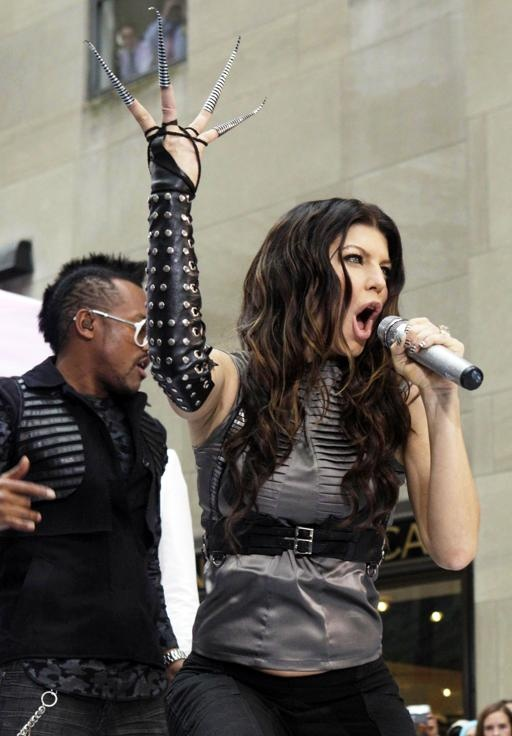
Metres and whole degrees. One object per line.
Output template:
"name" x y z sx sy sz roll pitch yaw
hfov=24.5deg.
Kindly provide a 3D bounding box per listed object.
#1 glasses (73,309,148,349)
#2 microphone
"glasses" -0.448 -0.136 3.788 0.216 0.058 0.188 15 -5 -2
"microphone" 0.396 -0.031 2.645 0.111 0.083 0.383 -11 19 -24
